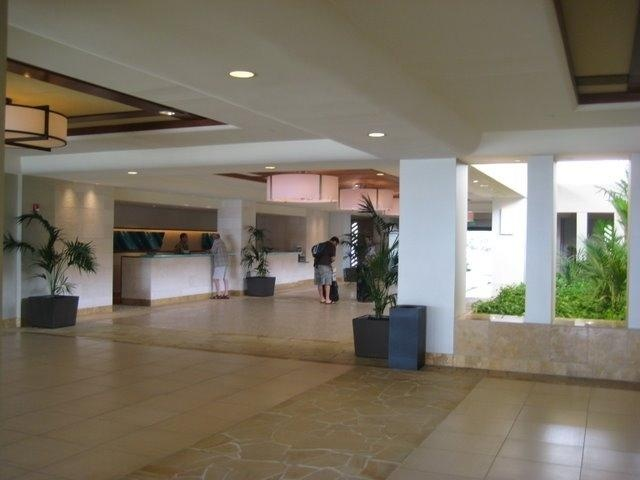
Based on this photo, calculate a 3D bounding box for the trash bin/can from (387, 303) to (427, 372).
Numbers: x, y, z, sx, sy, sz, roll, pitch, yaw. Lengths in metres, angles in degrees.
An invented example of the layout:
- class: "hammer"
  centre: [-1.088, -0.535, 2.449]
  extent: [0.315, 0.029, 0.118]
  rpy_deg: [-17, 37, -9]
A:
- class: "trash bin/can"
  centre: [1.307, 1.440, 6.907]
  extent: [0.493, 0.917, 0.538]
  rpy_deg: [1, 0, 16]

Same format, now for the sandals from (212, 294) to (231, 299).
- class: "sandals"
  centre: [-3.117, 1.791, 14.598]
  extent: [0.504, 0.157, 0.182]
  rpy_deg: [1, 0, 27]

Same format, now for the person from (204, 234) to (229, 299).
- class: "person"
  centre: [-3.111, 0.820, 14.470]
  extent: [0.586, 2.025, 1.093]
  rpy_deg: [0, 0, -13]

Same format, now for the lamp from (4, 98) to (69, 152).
- class: "lamp"
  centre: [-3.833, -1.556, 6.222]
  extent: [0.602, 0.552, 0.713]
  rpy_deg: [0, 0, 2]

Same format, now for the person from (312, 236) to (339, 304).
- class: "person"
  centre: [0.146, 0.895, 13.564]
  extent: [0.695, 1.936, 1.295]
  rpy_deg: [0, 0, -2]

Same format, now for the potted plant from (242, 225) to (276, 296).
- class: "potted plant"
  centre: [-2.108, 0.691, 15.836]
  extent: [1.054, 2.319, 1.639]
  rpy_deg: [0, 0, -8]

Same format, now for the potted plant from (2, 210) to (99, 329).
- class: "potted plant"
  centre: [-5.789, 0.599, 9.964]
  extent: [1.223, 2.495, 1.515]
  rpy_deg: [1, 1, 43]
